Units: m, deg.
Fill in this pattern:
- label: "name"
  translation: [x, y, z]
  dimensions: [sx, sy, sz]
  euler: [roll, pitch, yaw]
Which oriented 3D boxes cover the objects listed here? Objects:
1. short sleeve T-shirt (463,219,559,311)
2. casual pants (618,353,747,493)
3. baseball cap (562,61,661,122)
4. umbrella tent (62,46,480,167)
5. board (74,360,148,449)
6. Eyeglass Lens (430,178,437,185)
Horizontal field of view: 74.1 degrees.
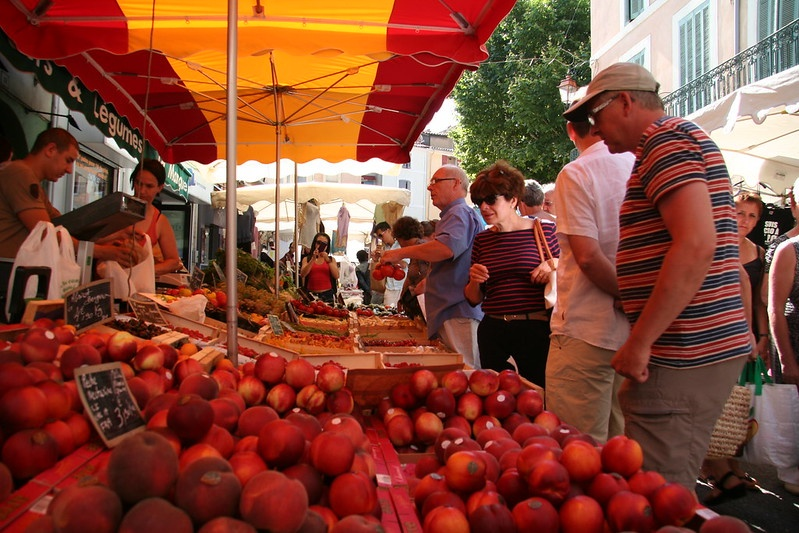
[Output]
- label: "short sleeve T-shirt"
  translation: [0.973, -0.004, 4.491]
  dimensions: [0.728, 0.716, 0.392]
  euler: [-6, -10, 20]
- label: "casual pants"
  translation: [1.555, 0.732, 3.100]
  dimensions: [0.605, 0.990, 0.783]
  euler: [3, -7, 21]
- label: "baseball cap"
  translation: [1.145, -0.975, 2.919]
  dimensions: [0.497, 0.262, 0.329]
  euler: [1, 8, 18]
- label: "umbrella tent"
  translation: [-1.697, -2.175, 7.023]
  dimensions: [2.835, 0.763, 2.832]
  euler: [-2, -4, -10]
- label: "board"
  translation: [-1.307, 0.638, 2.382]
  dimensions: [0.024, 0.381, 0.341]
  euler: [-23, -2, 20]
- label: "Eyeglass Lens"
  translation: [0.346, -0.848, 5.275]
  dimensions: [0.056, 0.028, 0.076]
  euler: [4, -19, -4]
